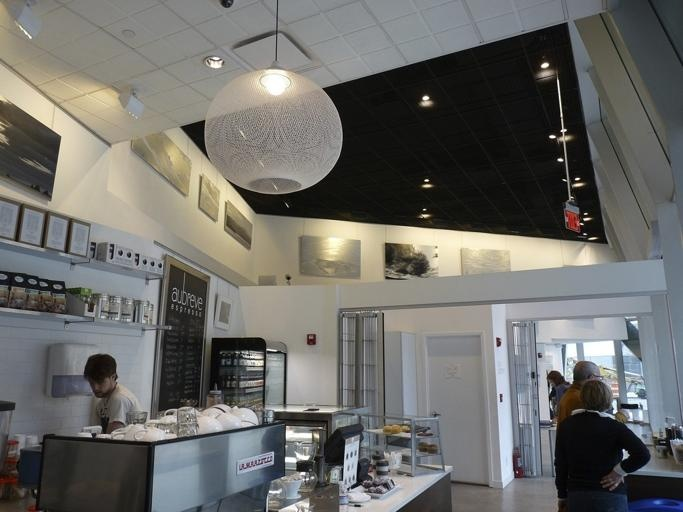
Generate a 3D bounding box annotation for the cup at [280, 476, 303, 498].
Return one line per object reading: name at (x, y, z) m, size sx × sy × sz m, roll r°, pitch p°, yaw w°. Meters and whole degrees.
cup at (-0.321, 1.513, 3.177) m, size 0.115 × 0.093 × 0.111 m, roll 2°, pitch -17°, yaw 1°

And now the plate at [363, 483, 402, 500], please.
plate at (0.336, 1.711, 3.527) m, size 0.336 × 0.060 × 0.187 m, roll 7°, pitch -18°, yaw -30°

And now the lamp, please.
lamp at (-0.307, -0.698, 3.056) m, size 0.683 × 1.436 × 0.724 m, roll -4°, pitch -20°, yaw 7°

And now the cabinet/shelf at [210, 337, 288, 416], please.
cabinet/shelf at (-1.178, 1.762, 6.887) m, size 0.535 × 1.195 × 1.190 m, roll -5°, pitch -13°, yaw 11°

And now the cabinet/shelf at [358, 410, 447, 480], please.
cabinet/shelf at (0.533, 1.694, 4.420) m, size 0.378 × 0.512 × 0.749 m, roll 7°, pitch -15°, yaw -35°

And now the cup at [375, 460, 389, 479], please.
cup at (0.315, 1.608, 3.654) m, size 0.077 × 0.129 × 0.121 m, roll 0°, pitch -11°, yaw 3°

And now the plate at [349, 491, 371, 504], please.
plate at (0.126, 1.658, 3.323) m, size 0.128 × 0.055 × 0.170 m, roll -7°, pitch -16°, yaw 21°
